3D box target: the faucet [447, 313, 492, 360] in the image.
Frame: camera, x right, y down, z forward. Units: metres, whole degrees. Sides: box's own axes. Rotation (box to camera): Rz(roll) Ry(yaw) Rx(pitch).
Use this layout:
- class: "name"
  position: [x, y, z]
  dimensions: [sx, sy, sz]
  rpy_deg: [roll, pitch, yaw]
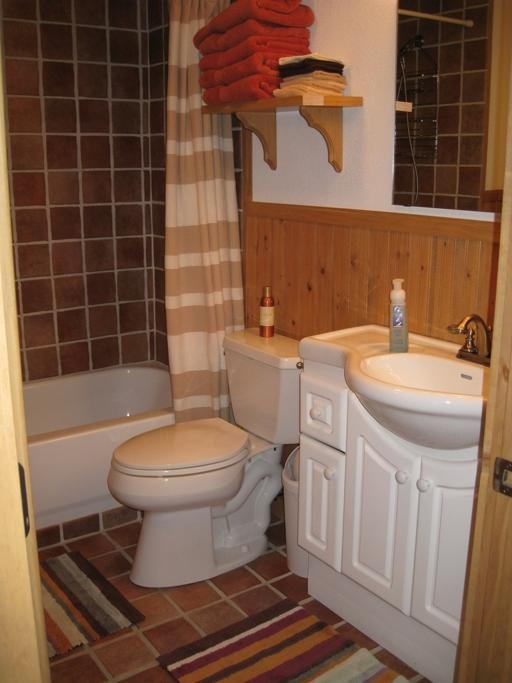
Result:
- class: "faucet"
  position: [0.578, -0.020, 1.424]
  dimensions: [0.151, 0.145, 0.090]
  rpy_deg: [-5, 12, -37]

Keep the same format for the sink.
- class: "sink"
  position: [0.383, 0.152, 1.342]
  dimensions: [0.341, 0.196, 0.428]
  rpy_deg: [4, 12, 24]

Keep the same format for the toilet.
- class: "toilet"
  position: [-0.190, 0.430, 2.004]
  dimensions: [0.697, 0.876, 0.420]
  rpy_deg: [-5, 17, -29]

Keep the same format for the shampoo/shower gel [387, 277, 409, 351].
- class: "shampoo/shower gel"
  position: [0.414, -0.075, 1.544]
  dimensions: [0.052, 0.198, 0.124]
  rpy_deg: [2, 10, 15]
